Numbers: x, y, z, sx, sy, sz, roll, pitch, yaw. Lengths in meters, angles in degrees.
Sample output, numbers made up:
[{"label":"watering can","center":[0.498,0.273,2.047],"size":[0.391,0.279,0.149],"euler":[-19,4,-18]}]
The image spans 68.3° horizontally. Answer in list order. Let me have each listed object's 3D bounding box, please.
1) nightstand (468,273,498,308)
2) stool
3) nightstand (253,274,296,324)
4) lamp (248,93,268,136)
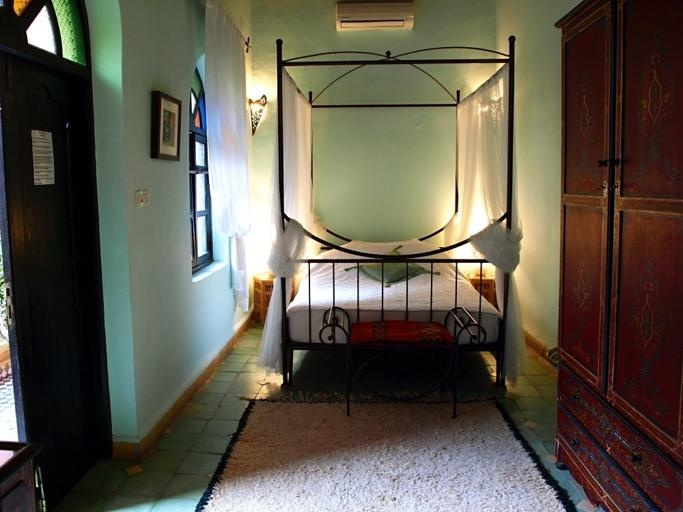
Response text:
[{"label":"nightstand","center":[1.230,0.306,4.371],"size":[0.204,0.324,0.305],"euler":[0,7,10]},{"label":"stool","center":[0.399,0.621,3.334],"size":[0.555,0.461,0.643],"euler":[0,14,4]},{"label":"nightstand","center":[-0.636,0.474,5.169],"size":[0.314,0.491,0.341],"euler":[-5,3,-16]},{"label":"lamp","center":[-0.854,-1.447,5.159],"size":[0.258,0.399,0.118],"euler":[-8,13,-32]}]
